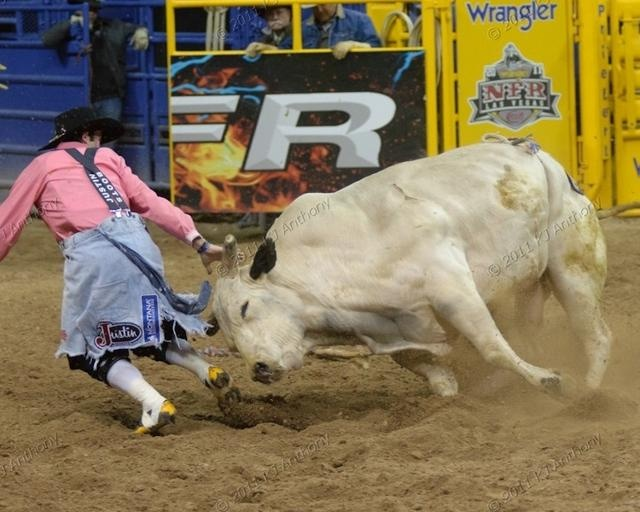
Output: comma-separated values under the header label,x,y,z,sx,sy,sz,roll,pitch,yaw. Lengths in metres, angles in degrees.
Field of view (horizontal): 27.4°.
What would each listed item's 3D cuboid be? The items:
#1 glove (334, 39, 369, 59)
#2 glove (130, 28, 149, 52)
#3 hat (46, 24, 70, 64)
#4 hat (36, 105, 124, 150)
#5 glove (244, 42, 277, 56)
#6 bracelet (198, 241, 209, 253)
label,x,y,z,sx,sy,sz,roll,pitch,yaw
glove,0.315,-2.060,13.000,0.312,0.121,0.179,-31,15,-30
glove,-2.068,-2.467,14.880,0.213,0.262,0.297,0,10,-8
hat,-3.010,-2.452,14.894,0.358,0.414,0.159,3,43,-16
hat,-1.748,-1.030,9.500,0.479,0.164,0.406,-19,-8,-24
glove,-0.611,-2.070,13.054,0.230,0.072,0.174,-4,14,12
bracelet,-0.869,-0.070,9.654,0.081,0.043,0.086,-49,11,-25
